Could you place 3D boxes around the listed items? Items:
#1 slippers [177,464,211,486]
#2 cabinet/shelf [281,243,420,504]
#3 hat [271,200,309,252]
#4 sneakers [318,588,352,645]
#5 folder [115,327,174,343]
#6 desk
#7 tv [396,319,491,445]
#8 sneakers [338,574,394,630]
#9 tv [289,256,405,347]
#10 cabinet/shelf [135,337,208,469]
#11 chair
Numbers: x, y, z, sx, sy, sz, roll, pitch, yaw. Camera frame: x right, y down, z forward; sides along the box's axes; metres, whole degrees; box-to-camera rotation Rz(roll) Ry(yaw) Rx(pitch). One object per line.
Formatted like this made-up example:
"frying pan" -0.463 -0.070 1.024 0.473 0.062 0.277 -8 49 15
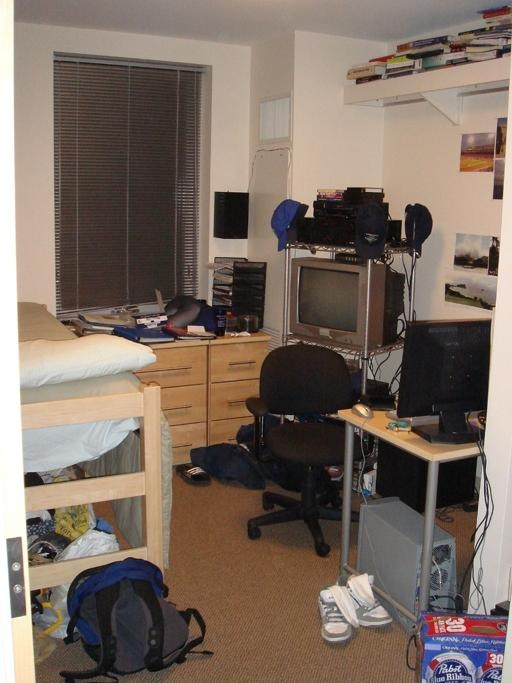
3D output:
"slippers" -0.396 0.836 3.573 0.098 0.047 0.189 -3 9 -23
"cabinet/shelf" 0.560 -0.006 3.618 0.684 1.307 0.464 14 19 42
"hat" 0.211 -0.757 3.671 0.224 0.320 0.160 1 9 6
"sneakers" 0.307 1.065 2.228 0.113 0.116 0.319 -2 3 3
"folder" -0.691 -0.044 3.559 0.178 0.042 0.179 -5 13 -39
"desk" 0.589 0.688 2.213 0.335 0.794 0.737 -3 10 -17
"tv" 0.712 0.146 2.066 0.381 0.437 0.141 -3 10 -20
"sneakers" 0.429 1.017 2.256 0.094 0.126 0.271 -4 6 -27
"tv" 0.576 -0.265 3.548 0.456 0.482 0.631 -10 16 -44
"cabinet/shelf" -0.568 0.393 3.839 0.488 0.810 0.407 -3 16 -15
"chair" 0.283 0.543 2.916 0.623 0.942 0.582 -3 12 -12
